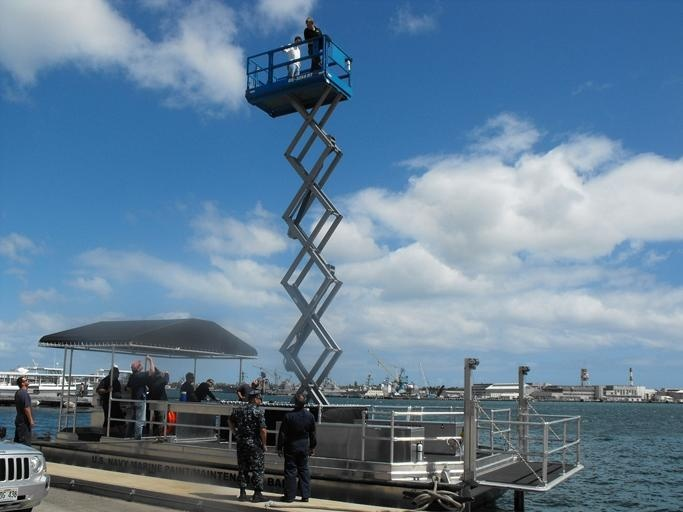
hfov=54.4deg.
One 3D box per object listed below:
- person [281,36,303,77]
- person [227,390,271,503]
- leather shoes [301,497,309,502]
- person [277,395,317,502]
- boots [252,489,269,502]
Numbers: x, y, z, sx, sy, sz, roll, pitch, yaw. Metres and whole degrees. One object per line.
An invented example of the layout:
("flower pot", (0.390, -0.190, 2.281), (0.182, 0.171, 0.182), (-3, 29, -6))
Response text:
("person", (-1.514, -6.441, 21.432), (0.554, 1.512, 0.296), (-9, -16, 39))
("person", (-2.303, 4.690, 16.522), (0.904, 2.621, 0.520), (1, -13, 1))
("leather shoes", (-0.903, 6.002, 16.400), (0.183, 0.093, 0.307), (1, -13, -1))
("person", (-1.124, 4.759, 16.487), (0.916, 2.531, 0.435), (2, -13, -5))
("boots", (-1.997, 5.844, 16.214), (0.374, 0.265, 0.316), (3, -13, -7))
